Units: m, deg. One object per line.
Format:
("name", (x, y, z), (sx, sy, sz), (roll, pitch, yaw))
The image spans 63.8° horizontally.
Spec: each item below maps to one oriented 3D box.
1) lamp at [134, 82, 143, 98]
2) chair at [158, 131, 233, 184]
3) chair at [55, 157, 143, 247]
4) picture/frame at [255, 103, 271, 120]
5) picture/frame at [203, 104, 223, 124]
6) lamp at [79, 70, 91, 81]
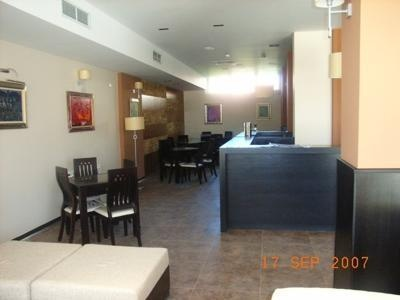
("lamp", (-1.658, -1.634, 8.726), (0.201, 0.422, 0.735), (-2, 7, -8))
("chair", (-0.143, 0.186, 9.775), (1.726, 1.172, 3.096), (0, 8, 9))
("chair", (-1.493, 0.671, 4.813), (1.124, 1.056, 1.165), (-3, 7, -29))
("picture/frame", (2.682, -1.627, 13.464), (0.658, 0.682, 0.170), (5, 4, 12))
("picture/frame", (0.616, -1.567, 13.763), (0.713, 0.874, 0.086), (1, 5, 4))
("lamp", (-2.228, -1.440, 6.237), (0.162, 0.201, 0.171), (-2, 15, -11))
